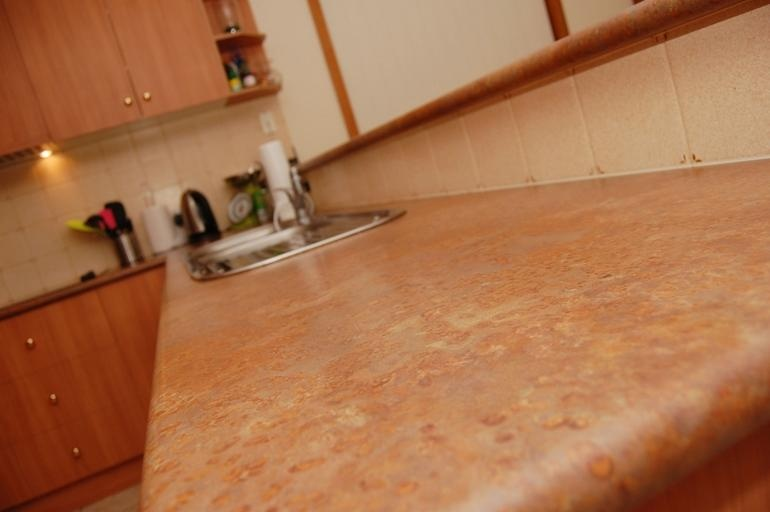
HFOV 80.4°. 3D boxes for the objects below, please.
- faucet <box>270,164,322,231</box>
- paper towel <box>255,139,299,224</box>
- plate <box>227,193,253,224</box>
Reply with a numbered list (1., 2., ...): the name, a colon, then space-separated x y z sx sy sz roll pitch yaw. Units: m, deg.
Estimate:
1. faucet: -0.329 -0.200 1.697 0.156 0.295 0.200 -5 11 -14
2. paper towel: -0.424 -0.314 1.858 0.167 0.424 0.143 -7 14 -23
3. plate: -0.812 -0.265 2.554 0.158 0.158 0.040 -54 -18 14
